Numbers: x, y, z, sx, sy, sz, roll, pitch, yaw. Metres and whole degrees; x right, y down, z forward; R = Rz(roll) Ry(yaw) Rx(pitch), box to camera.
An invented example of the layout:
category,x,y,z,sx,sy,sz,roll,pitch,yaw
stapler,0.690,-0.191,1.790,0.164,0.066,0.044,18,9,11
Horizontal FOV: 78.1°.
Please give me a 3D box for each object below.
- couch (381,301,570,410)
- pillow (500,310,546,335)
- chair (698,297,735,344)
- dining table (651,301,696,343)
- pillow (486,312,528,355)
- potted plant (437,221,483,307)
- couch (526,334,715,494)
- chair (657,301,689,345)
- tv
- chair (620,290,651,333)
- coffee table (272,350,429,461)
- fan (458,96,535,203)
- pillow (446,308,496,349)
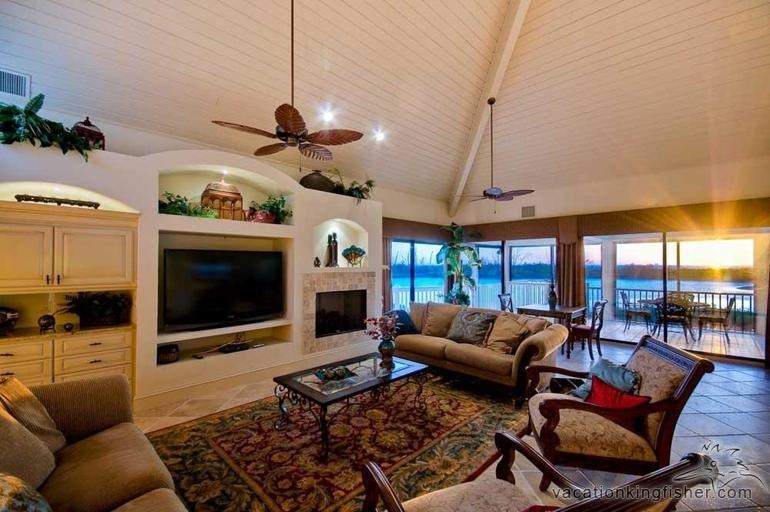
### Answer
category,x,y,z,sx,sy,sz,roll,pitch,yaw
couch,1.316,1.357,7.509,1.132,1.059,2.908,0,2,-41
pillow,2.074,0.950,6.919,0.334,0.103,0.368,-15,23,-30
chair,5.574,1.059,8.225,0.656,0.778,0.653,8,-6,-6
dining table,5.311,1.026,8.691,0.689,0.780,0.686,-6,19,24
pillow,1.778,1.119,6.922,0.176,0.541,0.559,31,11,-20
potted plant,1.626,0.123,10.519,0.875,1.259,2.393,-1,-1,9
couch,2.554,1.739,5.620,1.950,1.371,1.623,-2,3,-6
chair,5.305,1.095,8.712,0.648,0.776,0.664,-3,4,21
tv,-2.451,0.516,6.970,1.452,0.891,0.181,2,-4,-33
chair,4.826,1.045,9.098,0.549,0.650,0.475,-1,4,22
coffee table,-0.407,1.791,6.269,1.088,0.565,1.839,8,9,43
fan,1.799,-1.759,8.825,1.802,1.904,1.712,2,-1,17
pillow,1.339,1.068,7.278,0.596,0.522,0.179,3,-30,50
